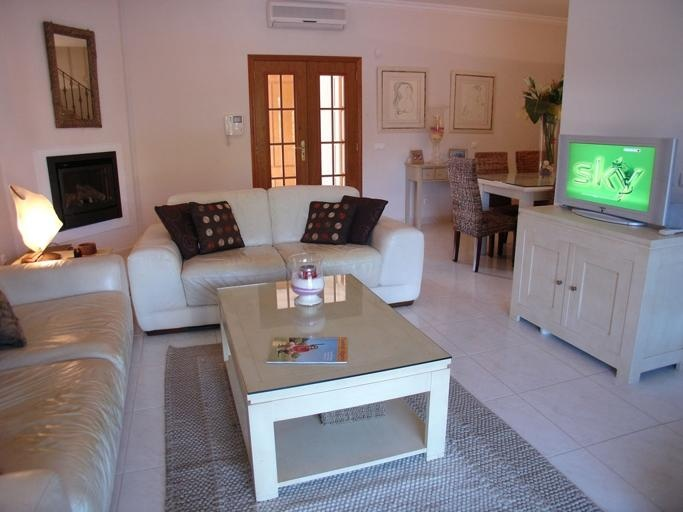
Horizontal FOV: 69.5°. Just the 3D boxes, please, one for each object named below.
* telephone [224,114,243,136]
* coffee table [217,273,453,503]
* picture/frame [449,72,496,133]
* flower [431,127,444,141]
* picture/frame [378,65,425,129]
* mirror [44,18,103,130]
[{"bbox_3d":[-1.359,-1.671,6.229,0.238,0.246,0.069,-5,10,-16],"label":"telephone"},{"bbox_3d":[-0.047,0.630,2.554,0.900,0.491,1.222,-8,23,-18],"label":"coffee table"},{"bbox_3d":[1.893,-2.302,7.210,0.836,1.010,0.068,-3,12,-17],"label":"picture/frame"},{"bbox_3d":[1.362,-1.755,7.082,0.184,0.148,0.158,9,17,34],"label":"flower"},{"bbox_3d":[0.807,-2.270,6.863,0.814,0.944,0.069,-4,11,-20],"label":"picture/frame"},{"bbox_3d":[-2.787,-1.872,5.141,0.076,1.016,0.663,2,17,19],"label":"mirror"}]
